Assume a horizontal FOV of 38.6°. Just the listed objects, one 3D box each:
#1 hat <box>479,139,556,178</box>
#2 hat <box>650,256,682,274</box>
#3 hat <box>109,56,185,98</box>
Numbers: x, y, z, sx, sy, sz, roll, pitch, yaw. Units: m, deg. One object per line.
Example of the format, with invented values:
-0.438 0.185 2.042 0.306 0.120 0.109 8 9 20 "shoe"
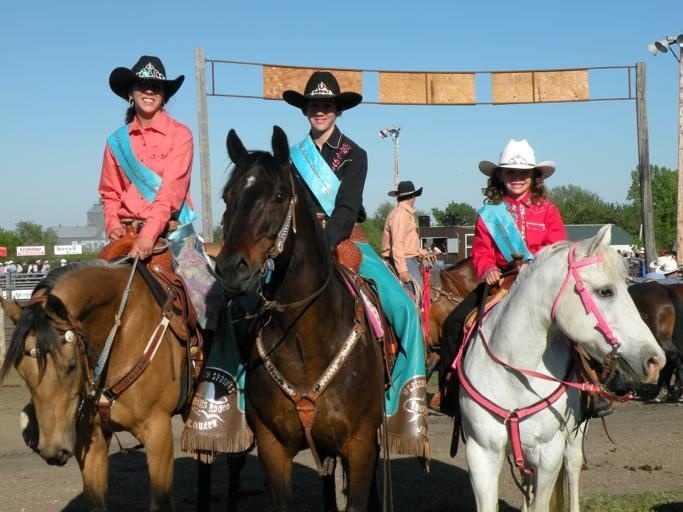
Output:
1.686 -0.940 9.436 0.707 0.354 0.398 -2 3 8 "hat"
6.667 0.181 20.093 0.483 0.246 0.604 -1 17 20 "hat"
-1.956 -1.786 9.687 0.703 0.391 0.372 -3 3 -18 "hat"
